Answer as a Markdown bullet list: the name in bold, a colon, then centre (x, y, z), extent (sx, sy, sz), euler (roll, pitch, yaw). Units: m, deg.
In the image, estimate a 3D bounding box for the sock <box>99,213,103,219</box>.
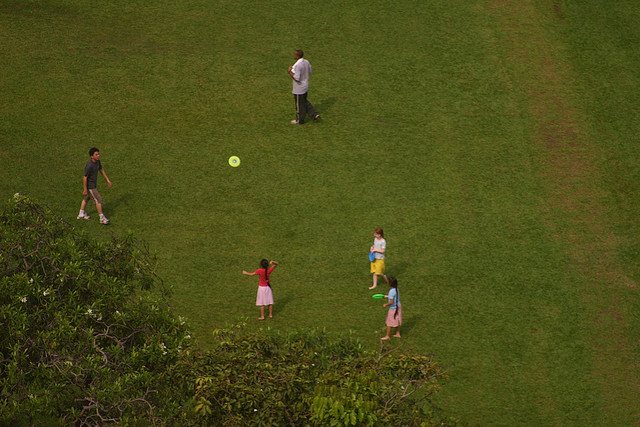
- **sock**: centre (-6.802, 0.044, 39.492), extent (0.179, 0.204, 0.179), euler (2, -88, -2)
